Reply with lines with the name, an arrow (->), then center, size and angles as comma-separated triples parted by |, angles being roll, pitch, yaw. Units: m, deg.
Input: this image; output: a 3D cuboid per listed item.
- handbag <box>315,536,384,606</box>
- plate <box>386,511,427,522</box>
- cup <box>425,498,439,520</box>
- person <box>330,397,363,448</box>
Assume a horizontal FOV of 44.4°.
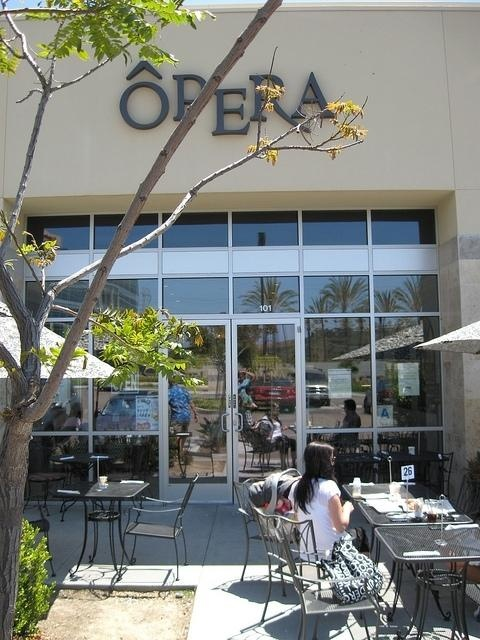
handbag -> 0.685, 1.532, 3.623 | 0.284, 0.146, 0.367 | 0, 23, -10
plate -> 1.253, 1.497, 4.489 | 0.164, 0.030, 0.108 | 1, -2, -13
cup -> 1.510, 1.479, 4.609 | 0.099, 0.111, 0.092 | 0, -6, 0
person -> 1.486, 1.402, 8.028 | 0.487, 0.853, 0.557 | 0, -7, 25
